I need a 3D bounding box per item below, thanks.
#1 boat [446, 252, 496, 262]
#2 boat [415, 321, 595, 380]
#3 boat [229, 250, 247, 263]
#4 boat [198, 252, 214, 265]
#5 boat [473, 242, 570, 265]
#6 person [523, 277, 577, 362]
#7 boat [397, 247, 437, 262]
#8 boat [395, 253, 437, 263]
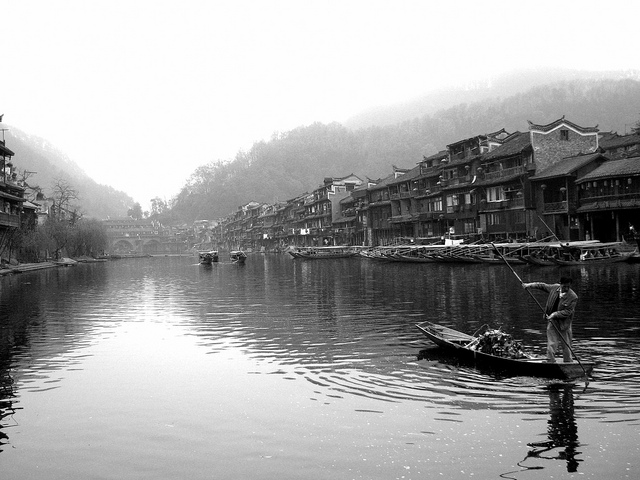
[{"bbox_3d":[13.220,1.551,53.716,4.512,0.745,0.964,0,1,43],"label":"boat"},{"bbox_3d":[5.123,3.169,17.162,4.888,0.862,1.594,10,4,14],"label":"boat"},{"bbox_3d":[-11.520,2.296,86.540,1.301,1.270,4.353,-15,-1,-25],"label":"boat"},{"bbox_3d":[-16.281,2.524,86.952,1.257,1.220,4.126,3,3,-19],"label":"boat"},{"bbox_3d":[15.905,1.073,47.539,9.109,2.052,1.793,-1,-2,12],"label":"boat"},{"bbox_3d":[6.300,2.106,16.329,0.957,2.291,0.696,2,8,22],"label":"person"},{"bbox_3d":[9.507,1.439,61.044,5.390,1.391,1.217,0,2,39],"label":"boat"},{"bbox_3d":[9.341,1.698,59.962,4.302,0.589,0.867,7,-16,30],"label":"boat"}]
